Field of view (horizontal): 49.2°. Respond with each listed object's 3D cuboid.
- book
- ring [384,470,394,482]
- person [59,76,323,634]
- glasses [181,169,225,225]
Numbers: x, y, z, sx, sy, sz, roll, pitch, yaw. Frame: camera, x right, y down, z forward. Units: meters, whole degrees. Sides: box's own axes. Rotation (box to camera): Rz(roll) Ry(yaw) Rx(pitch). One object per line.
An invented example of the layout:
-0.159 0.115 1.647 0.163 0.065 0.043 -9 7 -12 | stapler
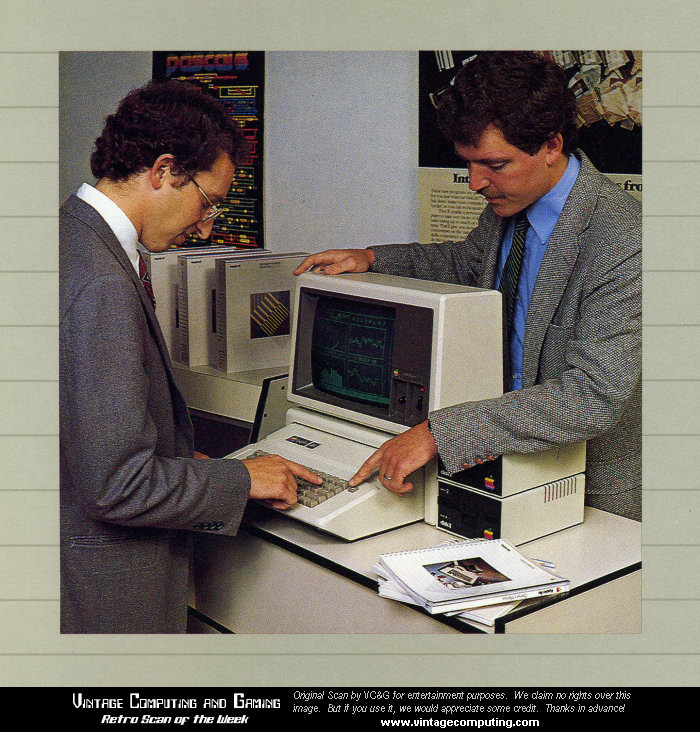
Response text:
0.213 0.392 1.412 0.267 0.065 0.253 -7 14 -35 | book
0.078 0.223 1.553 0.018 0.019 0.008 8 19 26 | ring
-0.383 0.041 1.555 0.486 1.221 0.391 -12 20 -42 | person
-0.283 -0.345 1.548 0.025 0.067 0.072 -28 -5 -1 | glasses
